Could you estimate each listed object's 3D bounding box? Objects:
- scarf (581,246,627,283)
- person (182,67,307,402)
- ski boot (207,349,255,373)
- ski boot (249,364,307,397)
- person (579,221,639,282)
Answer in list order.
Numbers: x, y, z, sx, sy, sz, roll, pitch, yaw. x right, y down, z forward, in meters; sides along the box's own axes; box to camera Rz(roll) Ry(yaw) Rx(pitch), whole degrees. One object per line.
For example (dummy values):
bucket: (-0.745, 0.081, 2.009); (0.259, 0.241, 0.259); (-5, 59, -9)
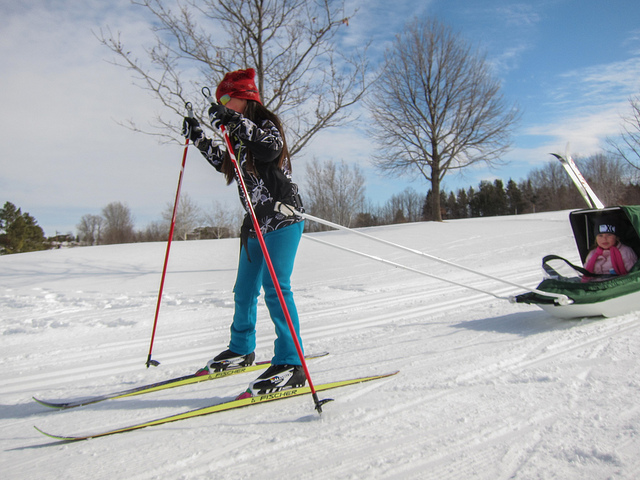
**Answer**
scarf: (3.508, 0.237, 6.063); (0.415, 0.590, 0.169); (-2, 9, 9)
person: (-0.599, -0.114, 4.373); (1.003, 2.924, 1.139); (-3, 7, -13)
ski boot: (-0.874, 1.118, 4.724); (0.483, 0.215, 0.173); (-3, -3, -21)
ski boot: (-0.341, 1.174, 4.303); (0.592, 0.299, 0.215); (-3, -4, -17)
person: (3.568, 0.132, 6.055); (0.450, 0.792, 0.537); (-3, -12, -16)
